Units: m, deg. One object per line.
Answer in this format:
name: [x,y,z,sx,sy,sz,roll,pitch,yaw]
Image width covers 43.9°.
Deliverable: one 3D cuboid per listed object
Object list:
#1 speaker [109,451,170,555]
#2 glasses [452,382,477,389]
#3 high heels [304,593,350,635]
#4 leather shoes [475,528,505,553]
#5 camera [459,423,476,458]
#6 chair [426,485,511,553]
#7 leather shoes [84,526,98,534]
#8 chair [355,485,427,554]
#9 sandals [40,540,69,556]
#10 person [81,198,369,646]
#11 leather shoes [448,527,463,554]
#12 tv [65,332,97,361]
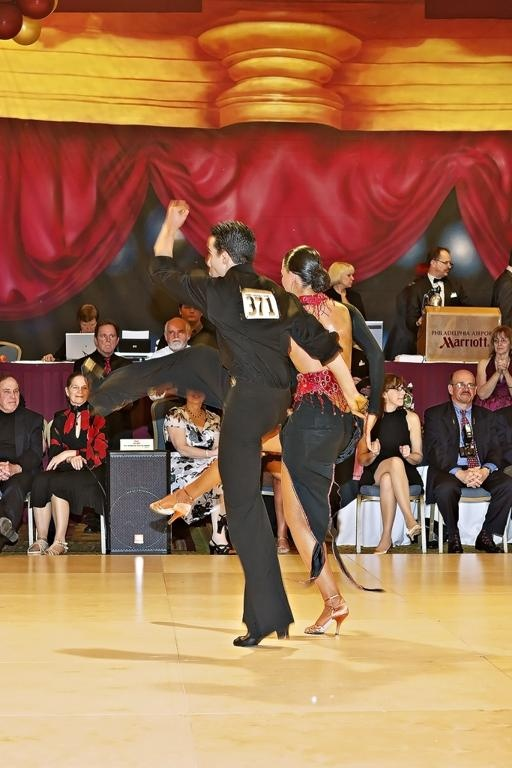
speaker: [-0.826,0.903,4.988,0.545,0.849,0.511,-2,-2,12]
glasses: [1.755,0.018,5.393,0.184,0.051,0.079,-1,-8,13]
high heels: [0.313,0.994,2.753,0.257,0.202,0.117,1,-2,8]
leather shoes: [1.930,1.279,5.142,0.233,0.177,0.254,2,-8,-9]
camera: [1.812,0.497,5.461,0.156,0.272,0.065,-1,1,-2]
chair: [1.739,1.138,5.306,0.506,0.868,0.654,1,-17,3]
leather shoes: [-1.573,1.399,6.037,0.127,0.055,0.046,1,1,9]
chair: [1.086,1.103,5.396,0.675,0.595,0.536,3,0,19]
sandals: [-1.471,1.231,4.704,0.100,0.068,0.163,-4,-12,17]
person: [-0.026,0.193,2.522,0.846,1.696,0.718,3,-8,-12]
leather shoes: [1.572,1.236,5.051,0.091,0.109,0.259,-1,29,5]
tv: [-1.860,-0.403,6.732,0.397,0.343,0.269,1,3,-6]
